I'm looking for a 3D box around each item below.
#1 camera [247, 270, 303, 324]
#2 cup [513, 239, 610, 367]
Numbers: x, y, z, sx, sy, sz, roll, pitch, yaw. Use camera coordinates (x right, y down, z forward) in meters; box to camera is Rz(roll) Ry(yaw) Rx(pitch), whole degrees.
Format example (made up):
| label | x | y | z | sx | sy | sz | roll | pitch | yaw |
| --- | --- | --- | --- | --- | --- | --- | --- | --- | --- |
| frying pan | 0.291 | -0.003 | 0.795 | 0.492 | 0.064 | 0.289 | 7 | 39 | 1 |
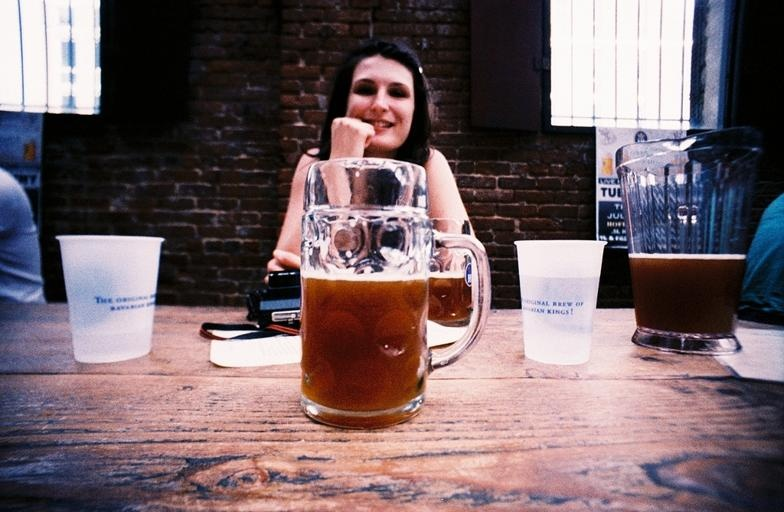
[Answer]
| label | x | y | z | sx | sy | sz | roll | pitch | yaw |
| --- | --- | --- | --- | --- | --- | --- | --- | --- | --- |
| camera | -0.330 | 0.145 | 2.023 | 0.107 | 0.145 | 0.158 | -8 | -35 | 20 |
| cup | 0.517 | 0.125 | 1.971 | 0.421 | 0.408 | 0.329 | 2 | 1 | 8 |
